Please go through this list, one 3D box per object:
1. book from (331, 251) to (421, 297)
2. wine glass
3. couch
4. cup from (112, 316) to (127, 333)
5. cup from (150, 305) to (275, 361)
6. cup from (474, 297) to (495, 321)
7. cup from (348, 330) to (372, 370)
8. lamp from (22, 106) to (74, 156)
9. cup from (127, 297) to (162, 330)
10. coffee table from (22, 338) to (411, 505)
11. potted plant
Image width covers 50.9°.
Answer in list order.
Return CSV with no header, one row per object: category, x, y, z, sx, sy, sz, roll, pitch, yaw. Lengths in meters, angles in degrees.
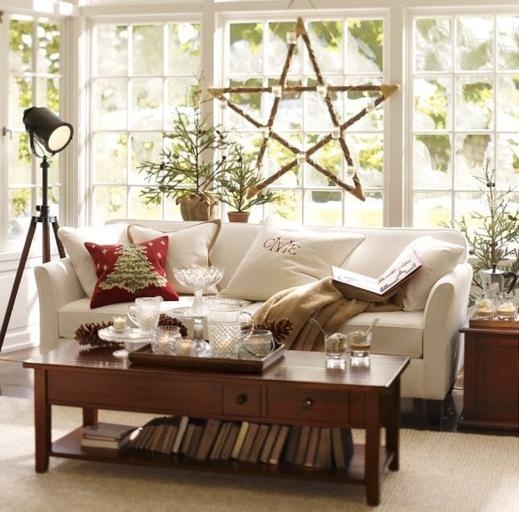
book,0.584,0.105,2.794,0.363,0.138,0.252,3,11,4
wine glass,-0.222,0.127,2.015,0.203,0.165,0.197,2,-2,42
couch,-0.093,0.309,2.905,2.098,0.809,0.672,4,4,-5
cup,-0.514,0.257,2.054,0.058,0.057,0.055,1,4,0
cup,-0.189,0.276,1.995,0.293,0.133,0.281,-1,4,0
cup,1.073,0.250,2.601,0.076,0.043,0.120,-1,18,9
cup,0.344,0.314,1.891,0.086,0.120,0.082,2,-13,1
lamp,-1.376,-0.810,3.566,0.279,0.325,0.192,1,2,28
cup,-0.443,0.221,2.074,0.135,0.123,0.085,-2,1,19
coffee table,-0.165,0.572,1.959,1.290,0.430,0.509,1,1,20
potted plant,-0.457,-0.805,4.112,1.101,1.111,0.688,1,2,33
